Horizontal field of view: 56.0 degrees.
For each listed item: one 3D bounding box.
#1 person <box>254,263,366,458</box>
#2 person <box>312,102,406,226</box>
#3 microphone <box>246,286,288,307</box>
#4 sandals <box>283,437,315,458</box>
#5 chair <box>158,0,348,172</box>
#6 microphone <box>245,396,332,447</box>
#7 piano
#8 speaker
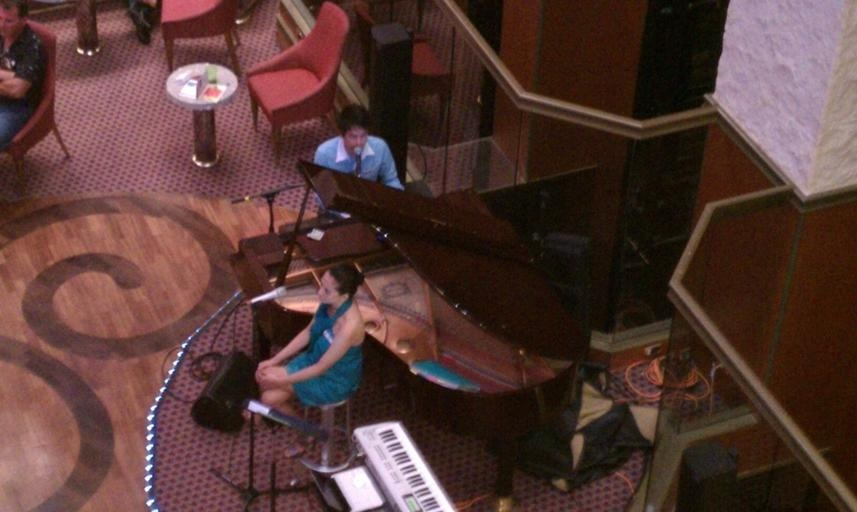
[{"bbox_3d":[-0.976,0.850,6.416,0.835,1.632,0.571,-2,27,-32],"label":"person"},{"bbox_3d":[-0.681,-0.770,7.531,0.848,1.283,0.744,-2,40,-7],"label":"person"},{"bbox_3d":[-1.294,0.352,6.456,0.099,0.129,0.573,-12,-6,-39],"label":"microphone"},{"bbox_3d":[-1.081,1.595,6.728,0.227,0.076,0.132,-35,61,-18],"label":"sandals"},{"bbox_3d":[-1.752,-1.867,8.797,2.049,1.238,0.815,-21,37,-10],"label":"chair"},{"bbox_3d":[-1.139,1.338,6.489,0.240,0.893,0.221,6,74,57],"label":"microphone"},{"bbox_3d":[-0.226,0.293,7.012,2.242,2.059,3.190,-16,55,-21],"label":"piano"},{"bbox_3d":[-1.609,1.158,6.512,0.231,0.752,0.551,15,42,5],"label":"speaker"}]
